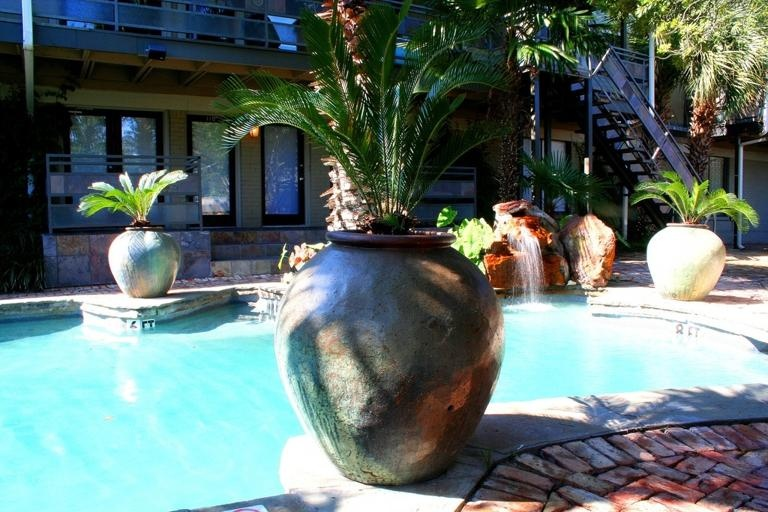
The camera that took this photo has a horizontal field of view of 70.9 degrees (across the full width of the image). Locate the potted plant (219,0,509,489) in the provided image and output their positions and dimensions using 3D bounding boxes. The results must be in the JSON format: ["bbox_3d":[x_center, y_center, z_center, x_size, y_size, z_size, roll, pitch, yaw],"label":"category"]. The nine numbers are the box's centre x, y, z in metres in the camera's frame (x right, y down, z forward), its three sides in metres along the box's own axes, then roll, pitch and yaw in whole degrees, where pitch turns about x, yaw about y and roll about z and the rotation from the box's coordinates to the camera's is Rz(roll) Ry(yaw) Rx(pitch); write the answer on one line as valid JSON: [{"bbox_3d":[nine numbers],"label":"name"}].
[{"bbox_3d":[0.051,-0.241,4.169,1.887,3.354,1.866,-3,13,-14],"label":"potted plant"}]

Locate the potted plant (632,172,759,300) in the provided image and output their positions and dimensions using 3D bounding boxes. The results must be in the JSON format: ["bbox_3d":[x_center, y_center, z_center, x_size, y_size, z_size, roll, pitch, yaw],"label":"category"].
[{"bbox_3d":[4.876,-0.322,8.744,1.632,1.973,1.853,5,2,-15],"label":"potted plant"}]

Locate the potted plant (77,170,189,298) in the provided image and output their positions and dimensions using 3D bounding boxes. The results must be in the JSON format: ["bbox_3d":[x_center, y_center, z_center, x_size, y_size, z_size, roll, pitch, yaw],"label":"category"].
[{"bbox_3d":[-3.965,-0.337,8.727,1.656,1.971,1.698,0,6,0],"label":"potted plant"}]
